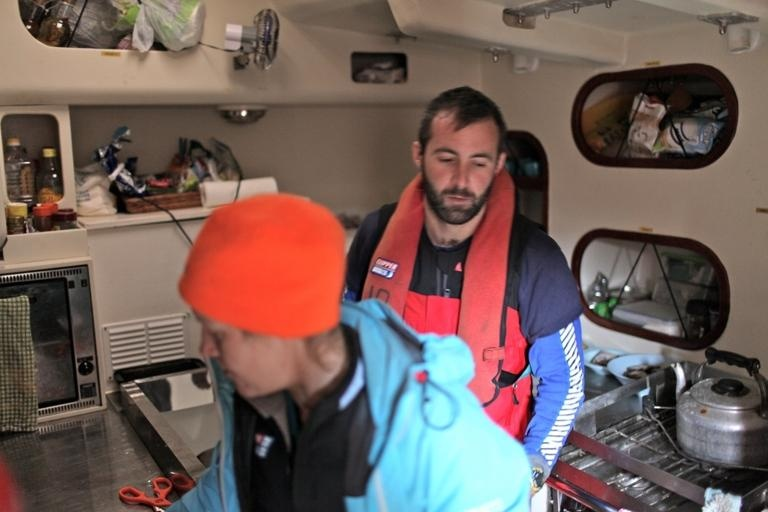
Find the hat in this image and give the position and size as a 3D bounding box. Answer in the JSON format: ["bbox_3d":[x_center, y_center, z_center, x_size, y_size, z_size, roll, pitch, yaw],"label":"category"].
[{"bbox_3d":[-0.164,0.012,0.827,0.208,0.135,0.214,22,32,24],"label":"hat"}]

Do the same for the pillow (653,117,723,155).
[{"bbox_3d":[1.269,-0.503,2.360,0.073,0.125,0.206,14,8,-31],"label":"pillow"}]

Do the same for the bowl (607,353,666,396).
[{"bbox_3d":[1.117,0.503,2.503,0.299,0.109,0.200,-10,16,-32],"label":"bowl"}]

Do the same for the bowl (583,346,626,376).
[{"bbox_3d":[1.019,0.485,2.625,0.130,0.034,0.126,-5,19,2],"label":"bowl"}]

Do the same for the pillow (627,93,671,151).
[{"bbox_3d":[1.199,-0.586,2.536,0.094,0.239,0.175,1,8,-40],"label":"pillow"}]

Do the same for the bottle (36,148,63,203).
[{"bbox_3d":[-1.330,-0.313,2.230,0.090,0.198,0.152,-9,15,-31],"label":"bottle"}]

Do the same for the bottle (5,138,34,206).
[{"bbox_3d":[-1.412,-0.321,2.182,0.095,0.254,0.042,-9,15,-31],"label":"bottle"}]
